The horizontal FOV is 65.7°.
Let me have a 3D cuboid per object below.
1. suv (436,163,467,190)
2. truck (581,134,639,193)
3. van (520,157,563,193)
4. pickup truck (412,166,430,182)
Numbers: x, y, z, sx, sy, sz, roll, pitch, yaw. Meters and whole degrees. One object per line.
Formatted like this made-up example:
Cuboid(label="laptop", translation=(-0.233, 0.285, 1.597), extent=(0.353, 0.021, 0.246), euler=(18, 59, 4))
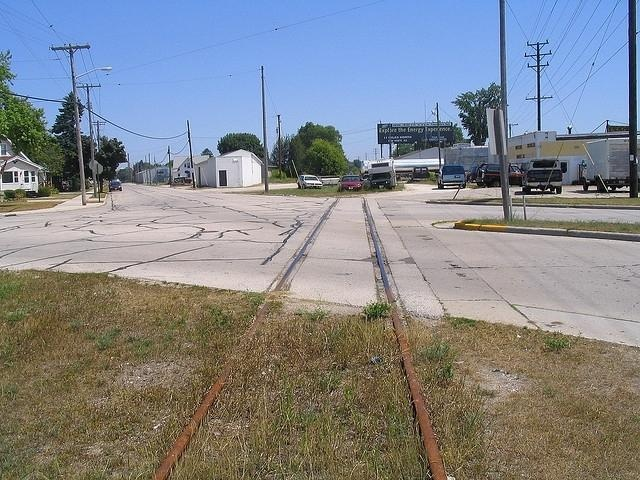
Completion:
Cuboid(label="suv", translation=(11.454, -5.464, 43.707), extent=(1.838, 1.653, 3.142), euler=(0, 14, 3))
Cuboid(label="truck", translation=(19.093, -4.903, 32.077), extent=(2.761, 3.636, 5.953), euler=(1, 12, 11))
Cuboid(label="van", translation=(14.709, -4.134, 32.780), extent=(2.281, 2.250, 2.865), euler=(4, 9, 24))
Cuboid(label="pickup truck", translation=(14.830, -9.585, 73.315), extent=(1.546, 1.650, 3.012), euler=(1, 17, 9))
